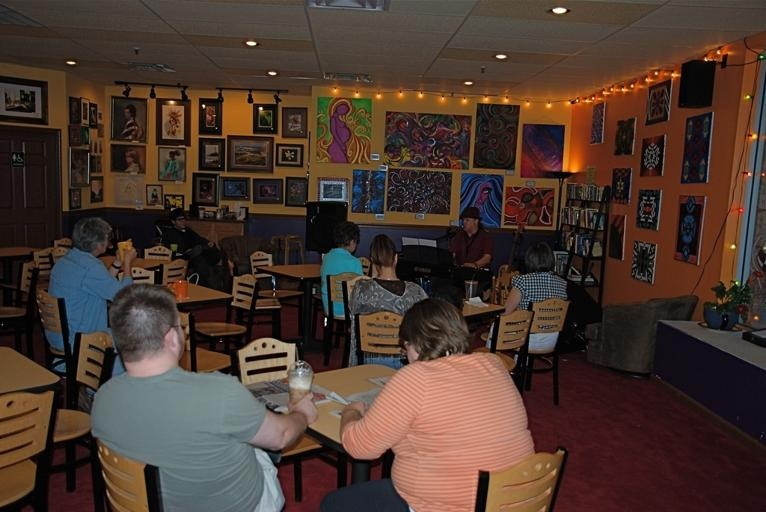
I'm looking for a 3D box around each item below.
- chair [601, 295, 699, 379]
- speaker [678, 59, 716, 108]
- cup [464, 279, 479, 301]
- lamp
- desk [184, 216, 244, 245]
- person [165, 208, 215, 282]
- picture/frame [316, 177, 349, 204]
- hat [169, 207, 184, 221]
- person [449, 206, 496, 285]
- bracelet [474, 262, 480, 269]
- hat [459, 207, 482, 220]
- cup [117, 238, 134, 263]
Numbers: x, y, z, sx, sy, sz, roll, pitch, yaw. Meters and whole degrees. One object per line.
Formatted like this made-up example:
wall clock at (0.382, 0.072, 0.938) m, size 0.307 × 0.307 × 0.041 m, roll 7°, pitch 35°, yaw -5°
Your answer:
chair at (3.136, 0.865, 6.882) m, size 1.092 × 0.945 × 0.906 m, roll -2°, pitch 8°, yaw -32°
speaker at (3.693, -1.995, 6.637) m, size 0.366 × 0.519 × 0.158 m, roll 1°, pitch 7°, yaw -2°
cup at (0.983, 0.380, 6.300) m, size 0.189 × 0.250 × 0.202 m, roll 0°, pitch 7°, yaw 0°
lamp at (-3.460, -2.977, 10.534) m, size 3.212 × 0.358 × 0.993 m, roll 1°, pitch 7°, yaw 1°
desk at (-3.115, -0.501, 10.695) m, size 1.360 × 0.413 × 0.759 m, roll 2°, pitch 3°, yaw 1°
person at (-3.214, -0.105, 9.544) m, size 0.745 × 1.313 × 0.629 m, roll 0°, pitch 17°, yaw 19°
picture/frame at (-0.901, -1.167, 10.004) m, size 0.603 × 0.446 × 0.079 m, roll 2°, pitch 9°, yaw -2°
hat at (-3.422, -0.682, 9.484) m, size 0.186 × 0.221 × 0.232 m, roll -11°, pitch -30°, yaw -34°
person at (1.370, -0.217, 8.886) m, size 0.714 × 1.048 × 0.731 m, roll 0°, pitch 8°, yaw 27°
bracelet at (1.402, 0.146, 8.399) m, size 0.079 × 0.109 × 0.036 m, roll 11°, pitch -9°, yaw -38°
hat at (1.379, -0.652, 8.808) m, size 0.278 × 0.170 × 0.224 m, roll 0°, pitch 7°, yaw -12°
cup at (-2.561, -0.037, 5.617) m, size 0.195 × 0.255 × 0.087 m, roll 7°, pitch 17°, yaw -20°
